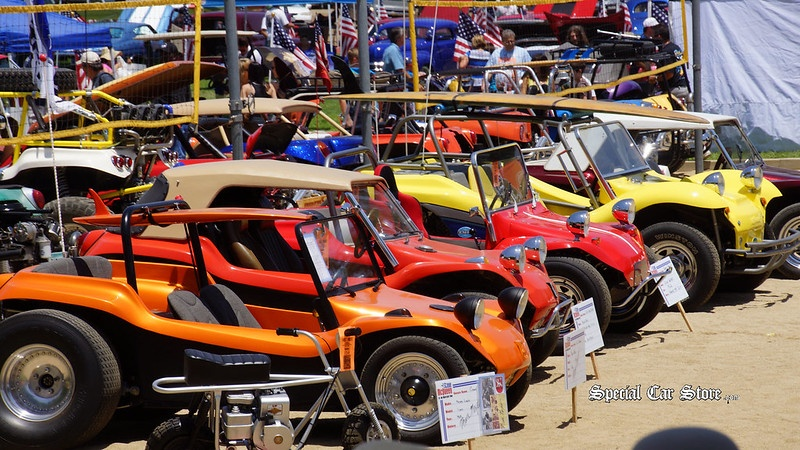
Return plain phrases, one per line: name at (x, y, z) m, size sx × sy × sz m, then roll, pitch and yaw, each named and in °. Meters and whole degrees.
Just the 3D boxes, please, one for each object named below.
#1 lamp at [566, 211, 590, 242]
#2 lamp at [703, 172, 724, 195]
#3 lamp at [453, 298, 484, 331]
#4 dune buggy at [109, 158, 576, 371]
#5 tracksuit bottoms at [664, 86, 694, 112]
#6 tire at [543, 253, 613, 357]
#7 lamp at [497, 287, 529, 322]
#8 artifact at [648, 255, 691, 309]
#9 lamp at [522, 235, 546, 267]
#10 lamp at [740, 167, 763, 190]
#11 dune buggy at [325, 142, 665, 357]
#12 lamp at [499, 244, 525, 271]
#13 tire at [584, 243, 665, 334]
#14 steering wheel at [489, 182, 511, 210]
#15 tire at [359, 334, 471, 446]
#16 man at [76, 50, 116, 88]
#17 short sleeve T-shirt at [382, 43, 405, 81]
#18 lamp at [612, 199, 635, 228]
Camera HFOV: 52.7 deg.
lamp at (2.521, -0.038, 11.606) m, size 0.307 × 0.472 × 0.421 m, roll 8°, pitch 40°, yaw 20°
lamp at (5.123, -0.700, 13.234) m, size 0.331 × 0.347 × 0.337 m, roll -1°, pitch 60°, yaw 14°
lamp at (0.793, 0.898, 8.983) m, size 0.300 × 0.388 × 0.398 m, roll 3°, pitch 19°, yaw 21°
dune buggy at (-0.314, 0.080, 10.814) m, size 5.015 × 2.284 × 2.730 m, roll 5°, pitch 13°, yaw 7°
tracksuit bottoms at (6.424, -2.894, 18.528) m, size 0.915 × 0.450 × 0.578 m, roll 5°, pitch 26°, yaw 18°
tire at (2.307, 1.048, 10.749) m, size 1.406 × 1.443 × 0.504 m, roll -1°, pitch 2°, yaw 4°
lamp at (1.311, 0.893, 9.410) m, size 0.322 × 0.402 × 0.426 m, roll 8°, pitch 27°, yaw 15°
artifact at (3.811, 0.830, 11.649) m, size 0.656 × 0.709 × 0.331 m, roll -6°, pitch 8°, yaw -34°
lamp at (1.760, 0.322, 10.571) m, size 0.307 × 0.385 × 0.412 m, roll 2°, pitch 41°, yaw 14°
lamp at (5.860, -0.818, 13.562) m, size 0.325 × 0.460 × 0.475 m, roll 2°, pitch 16°, yaw 30°
dune buggy at (1.124, 0.375, 11.731) m, size 4.836 × 2.400 × 2.553 m, roll 8°, pitch 16°, yaw 21°
lamp at (1.416, 0.401, 10.165) m, size 0.274 × 0.345 × 0.367 m, roll 6°, pitch 18°, yaw 19°
tire at (3.126, 0.876, 11.485) m, size 1.265 × 1.298 × 0.487 m, roll 2°, pitch 4°, yaw 3°
steering wheel at (1.491, -0.427, 11.936) m, size 0.411 × 0.216 × 0.314 m, roll -24°, pitch -3°, yaw 31°
tire at (0.171, 1.799, 8.709) m, size 1.201 × 1.232 × 0.429 m, roll -1°, pitch 2°, yaw 4°
man at (-5.986, -3.090, 16.044) m, size 0.933 × 0.678 × 0.609 m, roll 2°, pitch 20°, yaw 13°
short sleeve T-shirt at (-0.162, -3.925, 19.665) m, size 0.580 × 1.026 × 1.171 m, roll -3°, pitch 20°, yaw -6°
lamp at (3.334, -0.187, 12.019) m, size 0.316 × 0.460 × 0.423 m, roll -4°, pitch 48°, yaw 23°
